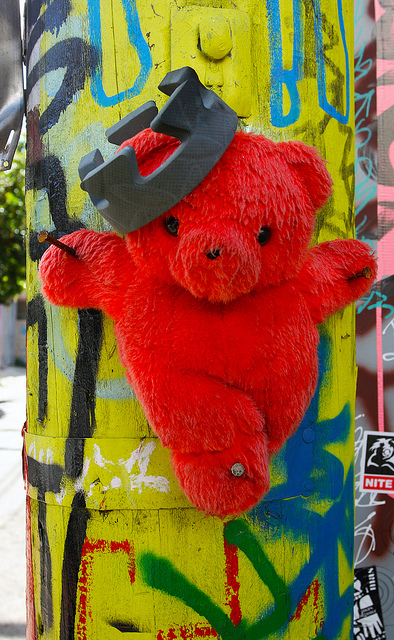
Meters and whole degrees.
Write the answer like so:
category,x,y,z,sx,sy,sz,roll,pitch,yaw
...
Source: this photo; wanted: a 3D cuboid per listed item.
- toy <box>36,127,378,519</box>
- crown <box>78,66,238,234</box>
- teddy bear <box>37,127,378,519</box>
category,x,y,z,sx,sy,sz,roll,pitch,yaw
toy,0.033,-0.008,2.154,0.757,0.826,0.437,1,17,-1
crown,-0.059,-0.327,1.970,0.128,0.345,0.270,37,32,-21
teddy bear,0.038,-0.023,2.146,0.769,0.821,0.437,-1,19,-2
